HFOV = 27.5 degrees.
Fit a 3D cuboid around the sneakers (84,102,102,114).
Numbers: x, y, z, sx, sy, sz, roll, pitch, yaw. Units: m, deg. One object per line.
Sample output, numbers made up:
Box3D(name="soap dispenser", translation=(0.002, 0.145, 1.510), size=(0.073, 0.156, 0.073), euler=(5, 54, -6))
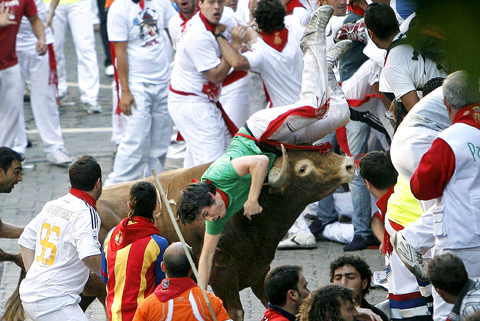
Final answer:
Box3D(name="sneakers", translation=(-2.560, -0.897, 17.077), size=(0.196, 0.122, 0.250), euler=(-2, 7, 2))
